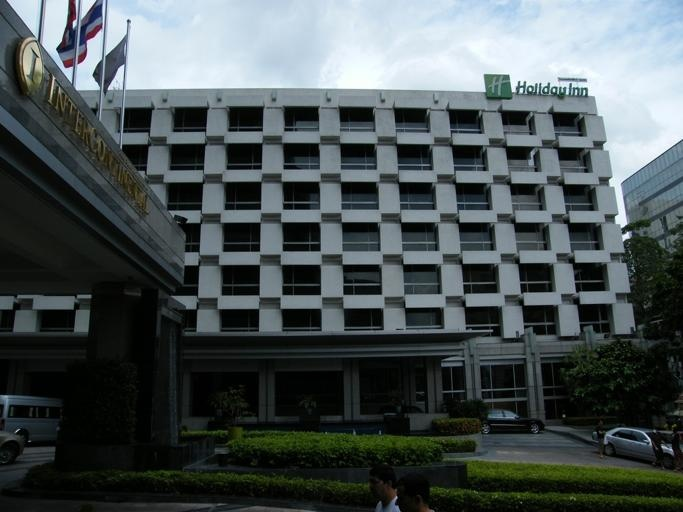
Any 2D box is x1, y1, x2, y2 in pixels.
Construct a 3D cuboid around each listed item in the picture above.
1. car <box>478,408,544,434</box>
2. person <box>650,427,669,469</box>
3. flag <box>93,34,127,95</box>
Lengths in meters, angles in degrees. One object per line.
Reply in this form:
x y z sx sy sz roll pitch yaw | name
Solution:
11.109 10.775 38.010 3.900 1.268 1.652 -2 -10 3 | car
14.417 8.783 26.464 0.486 1.583 1.576 -10 -20 26 | person
-9.151 -7.836 23.231 1.136 3.151 0.278 3 -29 3 | flag
